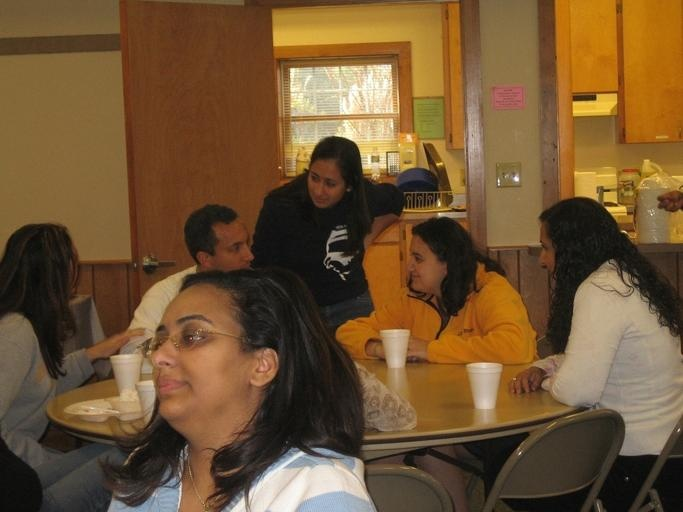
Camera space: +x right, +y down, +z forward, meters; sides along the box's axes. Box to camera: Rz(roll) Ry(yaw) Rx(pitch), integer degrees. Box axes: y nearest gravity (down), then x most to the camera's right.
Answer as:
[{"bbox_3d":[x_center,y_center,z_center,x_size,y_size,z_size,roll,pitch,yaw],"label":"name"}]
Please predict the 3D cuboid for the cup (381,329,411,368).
[{"bbox_3d":[0.215,0.371,2.582,0.134,0.149,0.138,0,-3,0],"label":"cup"}]

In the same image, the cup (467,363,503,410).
[{"bbox_3d":[0.449,0.409,2.039,0.128,0.148,0.134,-1,-2,0],"label":"cup"}]
